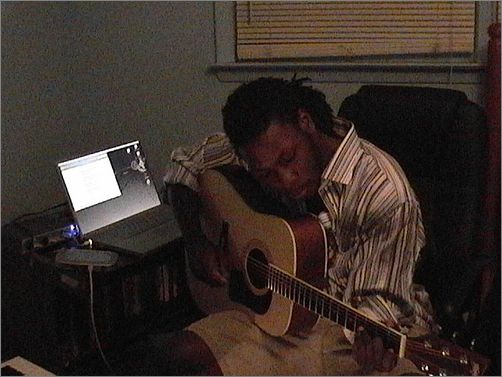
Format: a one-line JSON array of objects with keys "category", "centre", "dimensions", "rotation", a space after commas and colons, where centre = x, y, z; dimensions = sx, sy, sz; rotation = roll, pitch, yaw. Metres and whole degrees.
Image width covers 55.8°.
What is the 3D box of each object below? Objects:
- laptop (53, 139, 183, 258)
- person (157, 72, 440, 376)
[{"category": "laptop", "centre": [-0.438, 0.014, 1.624], "dimensions": [0.395, 0.249, 0.382], "rotation": [9, 27, 38]}, {"category": "person", "centre": [0.262, 0.018, 1.574], "dimensions": [0.812, 0.927, 0.193], "rotation": [34, 35, 31]}]
